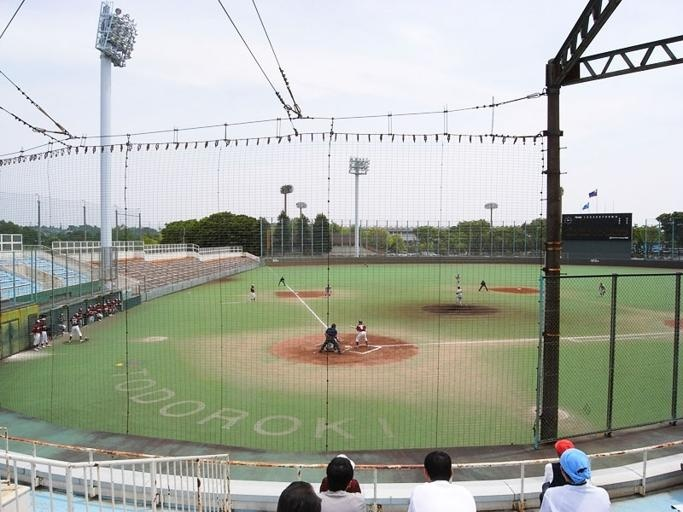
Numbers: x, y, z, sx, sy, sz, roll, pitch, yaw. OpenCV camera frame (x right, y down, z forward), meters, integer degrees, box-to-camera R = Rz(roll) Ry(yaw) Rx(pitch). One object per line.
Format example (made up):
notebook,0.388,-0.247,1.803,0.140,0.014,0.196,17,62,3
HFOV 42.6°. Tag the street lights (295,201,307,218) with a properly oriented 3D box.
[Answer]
street lights,-1.140,-1.307,24.871,0.325,0.335,0.481,-1,0,-5

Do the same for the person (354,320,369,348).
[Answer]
person,0.794,3.299,36.138,0.658,1.313,0.757,1,36,4

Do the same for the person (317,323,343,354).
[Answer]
person,-0.492,3.409,35.366,0.982,1.118,0.613,16,22,37

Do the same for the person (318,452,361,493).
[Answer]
person,0.003,5.412,21.405,0.827,0.653,1.282,2,-25,-1
